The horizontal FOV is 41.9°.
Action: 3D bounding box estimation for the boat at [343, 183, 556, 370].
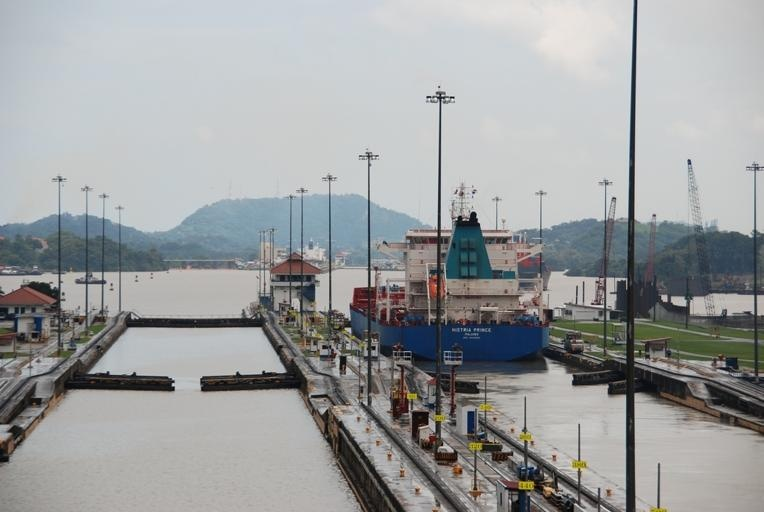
[{"bbox_3d":[7.717,2.150,122.031,18.166,16.772,47.554,-1,0,-3],"label":"boat"}]
